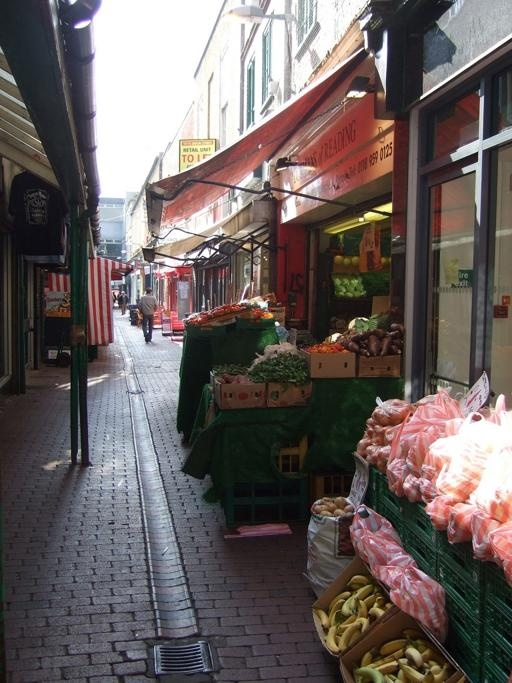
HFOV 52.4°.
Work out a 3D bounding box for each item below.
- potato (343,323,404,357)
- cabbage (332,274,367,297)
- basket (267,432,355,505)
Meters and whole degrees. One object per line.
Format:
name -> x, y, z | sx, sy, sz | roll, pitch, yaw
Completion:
potato -> 1.083, -0.001, 4.812 | 0.345, 0.115, 0.367 | -4, 13, 1
cabbage -> 1.732, -1.053, 9.842 | 0.454, 0.495, 0.142 | -5, -2, -18
basket -> 0.447, 1.085, 4.336 | 0.710, 0.512, 0.174 | 1, 0, -14
